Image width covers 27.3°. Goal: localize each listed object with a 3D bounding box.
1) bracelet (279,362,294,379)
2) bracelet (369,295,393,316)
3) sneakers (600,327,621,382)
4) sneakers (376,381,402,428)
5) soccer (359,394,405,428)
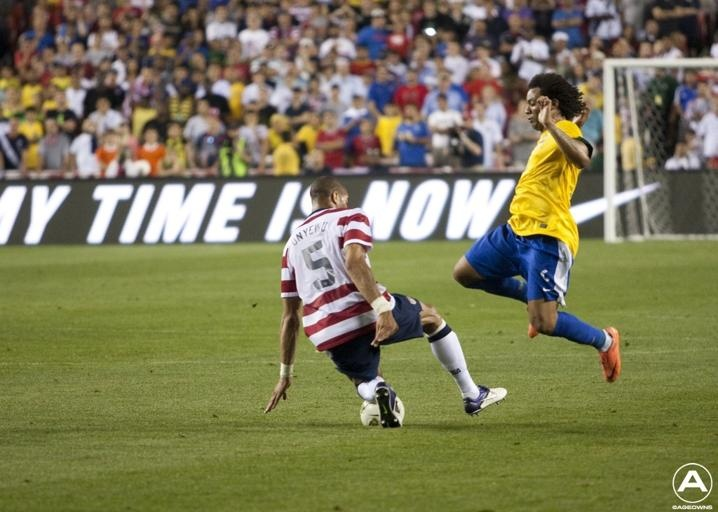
[{"bbox_3d":[-0.770,1.255,15.890,0.172,0.173,0.168,-1,6,-11],"label":"bracelet"},{"bbox_3d":[0.242,0.532,15.545,0.204,0.161,0.204,-31,-2,5],"label":"bracelet"},{"bbox_3d":[2.792,1.098,16.312,0.238,0.608,0.214,-3,6,-24],"label":"sneakers"},{"bbox_3d":[0.315,1.595,15.621,0.231,0.459,0.219,-10,21,0],"label":"sneakers"},{"bbox_3d":[0.185,1.610,15.720,0.289,0.399,0.201,-6,10,6],"label":"soccer"}]
